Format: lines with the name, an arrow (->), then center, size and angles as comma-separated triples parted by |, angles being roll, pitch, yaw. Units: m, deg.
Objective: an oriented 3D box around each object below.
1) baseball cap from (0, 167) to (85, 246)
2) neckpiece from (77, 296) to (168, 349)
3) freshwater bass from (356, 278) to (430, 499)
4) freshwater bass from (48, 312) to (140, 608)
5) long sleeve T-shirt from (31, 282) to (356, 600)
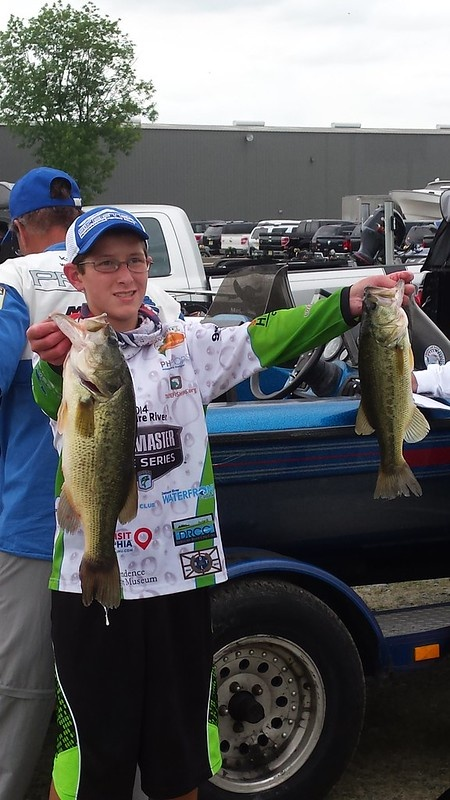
baseball cap -> -0.534, -0.639, 2.288 | 0.239, 0.184, 0.387 | -2, 8, -28
neckpiece -> -0.214, -0.184, 1.563 | 0.154, 0.122, 0.067 | -14, 20, -35
freshwater bass -> 0.412, 0.027, 1.697 | 0.263, 0.639, 0.147 | -3, 23, 8
freshwater bass -> -0.237, 0.115, 1.308 | 0.151, 0.562, 0.112 | -8, 16, -9
long sleeve T-shirt -> -0.055, 0.089, 1.585 | 0.271, 0.683, 0.699 | -6, 3, -14
